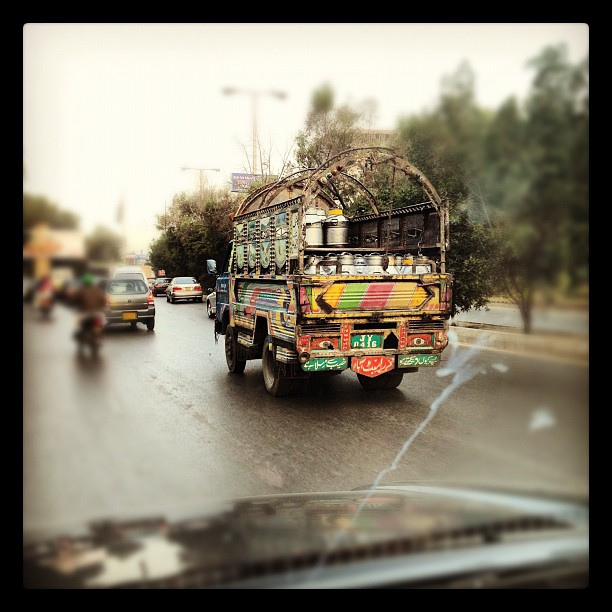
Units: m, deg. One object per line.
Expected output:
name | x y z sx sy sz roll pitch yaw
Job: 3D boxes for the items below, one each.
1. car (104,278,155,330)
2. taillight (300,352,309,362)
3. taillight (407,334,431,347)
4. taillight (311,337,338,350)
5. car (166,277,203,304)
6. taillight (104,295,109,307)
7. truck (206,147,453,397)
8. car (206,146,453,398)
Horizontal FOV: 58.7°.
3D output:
car | -5.716 -0.252 17.555 1.302 1.208 2.332 -1 8 -19
taillight | -0.017 0.637 6.940 0.122 0.109 0.027 -2 0 -33
taillight | 1.567 0.465 7.542 0.379 0.153 0.017 -2 1 -18
taillight | 0.251 0.471 7.070 0.380 0.152 0.023 -2 1 -19
car | -6.948 -0.972 31.050 1.886 1.456 1.153 -2 0 4
taillight | -6.012 -0.169 16.443 0.099 0.357 0.235 -3 0 -29
truck | 0.017 -0.571 9.578 2.871 3.359 5.142 -1 4 -20
car | 0.029 -0.535 9.587 2.641 3.225 5.032 -2 5 -23
